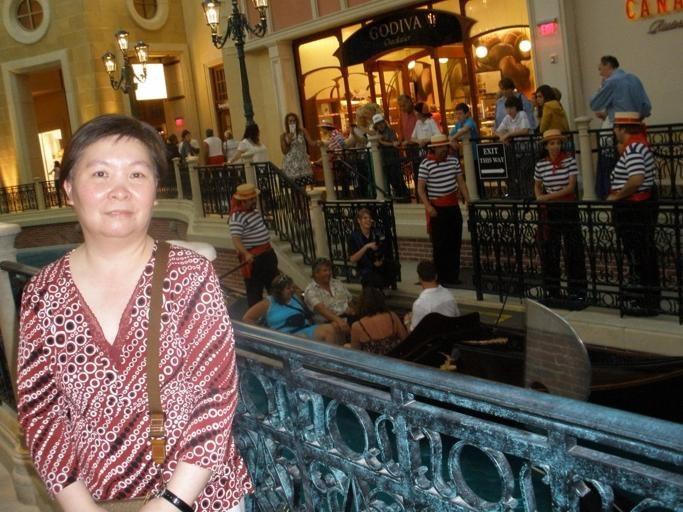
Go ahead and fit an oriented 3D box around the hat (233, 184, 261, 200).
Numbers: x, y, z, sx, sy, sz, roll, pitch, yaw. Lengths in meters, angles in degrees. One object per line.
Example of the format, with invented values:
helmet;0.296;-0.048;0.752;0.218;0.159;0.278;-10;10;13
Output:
hat;-1.813;-1.205;9.171;0.358;0.118;0.347;8;32;30

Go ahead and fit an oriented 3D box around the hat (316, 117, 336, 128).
hat;-0.442;-3.979;14.647;0.831;0.369;0.934;1;13;4

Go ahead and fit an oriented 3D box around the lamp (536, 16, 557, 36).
lamp;4.557;-4.951;10.831;0.447;0.340;0.251;4;7;44

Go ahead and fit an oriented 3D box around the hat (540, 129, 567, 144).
hat;3.167;-1.808;7.490;0.320;0.134;0.381;-2;-7;0

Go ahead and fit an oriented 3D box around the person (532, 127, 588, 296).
person;3.216;-0.607;7.202;0.713;2.619;0.884;1;-2;22

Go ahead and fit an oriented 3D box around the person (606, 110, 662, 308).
person;3.799;-0.536;6.371;0.584;2.615;0.617;1;-2;34

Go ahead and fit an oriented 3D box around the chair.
chair;0.268;0.962;6.831;2.448;0.868;1.379;6;-1;26

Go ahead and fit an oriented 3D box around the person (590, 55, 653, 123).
person;4.699;-2.852;8.295;0.881;1.140;0.445;1;-2;29
